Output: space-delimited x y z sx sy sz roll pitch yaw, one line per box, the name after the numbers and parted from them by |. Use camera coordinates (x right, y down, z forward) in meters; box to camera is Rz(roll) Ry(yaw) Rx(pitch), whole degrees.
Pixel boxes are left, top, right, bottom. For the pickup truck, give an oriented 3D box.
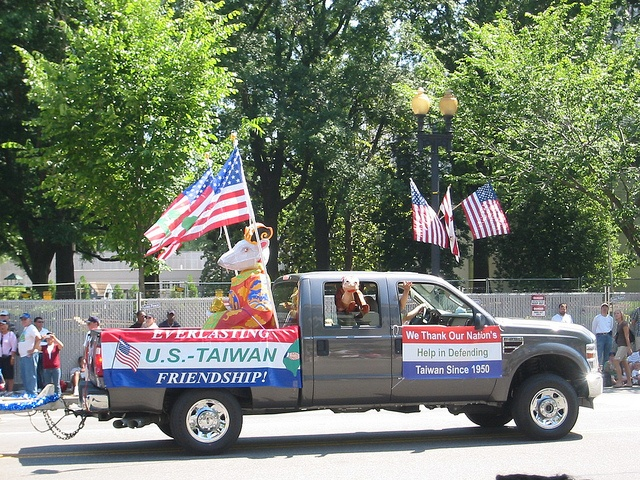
-0.003 2.703 22.273 11.311 3.588 4.107 -1 -4 -10 | pickup truck

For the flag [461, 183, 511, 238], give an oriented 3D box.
4.418 -0.767 28.368 1.097 1.547 0.880 0 10 6 | flag

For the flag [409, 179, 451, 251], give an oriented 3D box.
2.808 -0.637 27.222 0.872 1.826 1.065 0 10 5 | flag

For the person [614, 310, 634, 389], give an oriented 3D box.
8.079 3.098 28.084 0.501 1.770 0.876 2 10 17 | person

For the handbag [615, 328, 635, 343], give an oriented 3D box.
8.179 2.633 28.248 0.471 0.451 0.443 0 -10 2 | handbag
